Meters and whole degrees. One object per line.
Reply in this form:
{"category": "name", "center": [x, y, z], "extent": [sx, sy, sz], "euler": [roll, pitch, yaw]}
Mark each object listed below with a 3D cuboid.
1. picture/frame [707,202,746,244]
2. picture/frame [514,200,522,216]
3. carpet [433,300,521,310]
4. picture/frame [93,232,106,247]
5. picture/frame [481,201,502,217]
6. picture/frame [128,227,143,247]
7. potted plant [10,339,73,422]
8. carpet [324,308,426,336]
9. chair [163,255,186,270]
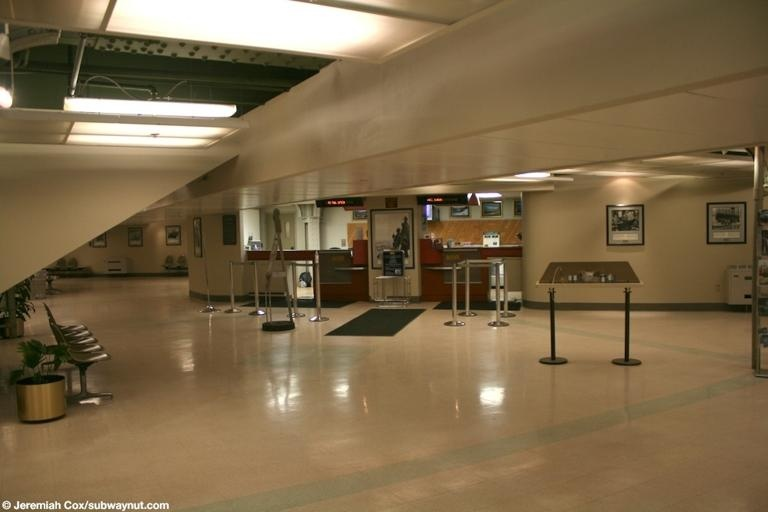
{"category": "picture/frame", "center": [7.572, -0.755, 11.761], "extent": [1.009, 1.123, 0.056], "euler": [0, 0, 15]}
{"category": "picture/frame", "center": [4.744, -1.733, 19.049], "extent": [0.195, 0.559, 0.214], "euler": [1, 7, 22]}
{"category": "carpet", "center": [2.405, 1.257, 13.704], "extent": [2.165, 0.119, 1.737], "euler": [-1, 6, 10]}
{"category": "picture/frame", "center": [-14.063, -0.745, 26.185], "extent": [0.831, 0.696, 0.338], "euler": [-2, 7, -5]}
{"category": "picture/frame", "center": [3.854, -1.695, 19.070], "extent": [0.618, 0.470, 0.068], "euler": [1, 1, 2]}
{"category": "picture/frame", "center": [-12.299, -0.950, 26.347], "extent": [0.763, 1.007, 0.182], "euler": [-1, 7, 9]}
{"category": "potted plant", "center": [-4.377, 1.557, 6.739], "extent": [0.604, 0.991, 0.661], "euler": [1, -4, 26]}
{"category": "carpet", "center": [-0.093, 1.445, 11.765], "extent": [1.391, 0.129, 3.089], "euler": [0, 6, 16]}
{"category": "chair", "center": [-10.084, 0.321, 25.692], "extent": [1.359, 0.692, 0.722], "euler": [-2, 7, 2]}
